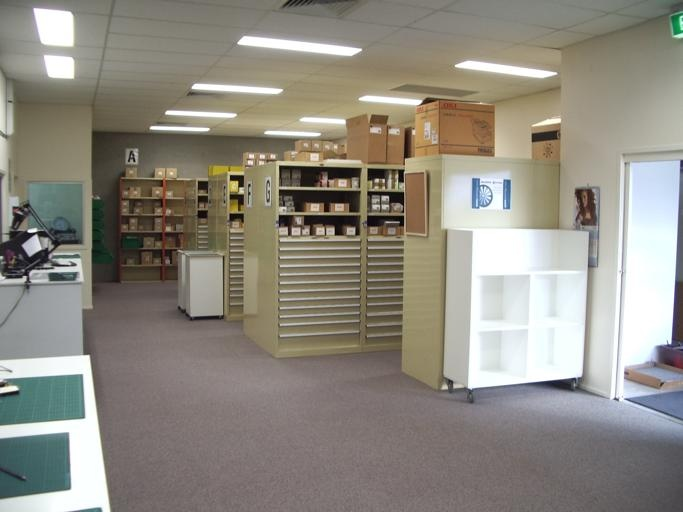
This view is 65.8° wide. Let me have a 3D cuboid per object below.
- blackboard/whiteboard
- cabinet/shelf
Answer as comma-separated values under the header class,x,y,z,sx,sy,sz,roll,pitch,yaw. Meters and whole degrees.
class,x,y,z,sx,sy,sz,roll,pitch,yaw
blackboard/whiteboard,-4.378,-0.678,7.978,0.918,1.345,0.050,0,4,-16
cabinet/shelf,0.133,0.113,6.078,2.553,1.960,2.645,0,1,-21
